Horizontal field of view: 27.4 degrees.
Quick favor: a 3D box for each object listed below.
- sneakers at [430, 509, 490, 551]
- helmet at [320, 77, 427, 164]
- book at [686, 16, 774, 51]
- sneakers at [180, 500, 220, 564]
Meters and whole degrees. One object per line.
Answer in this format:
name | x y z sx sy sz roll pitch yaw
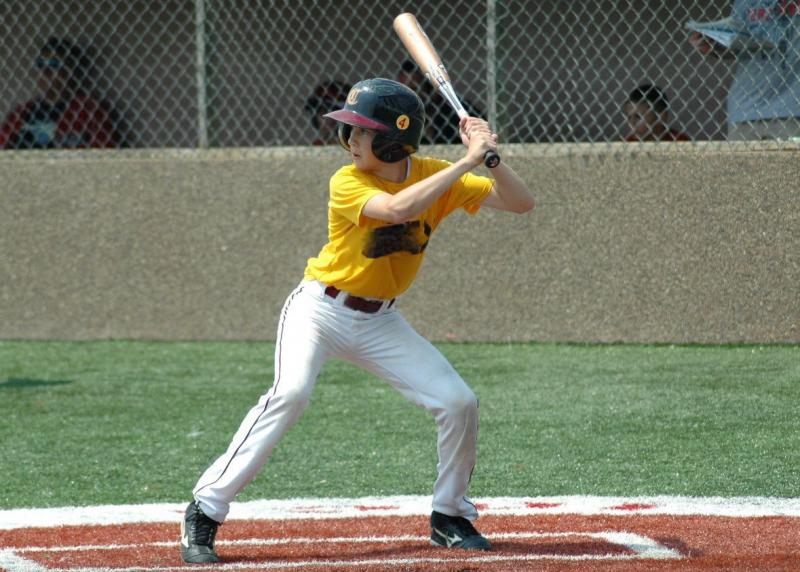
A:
sneakers | 0.293 1.251 8.382 0.366 0.178 0.135 6 13 39
helmet | -0.125 -0.867 8.470 0.520 0.431 0.382 -10 22 -30
book | 2.090 -1.581 10.390 0.352 0.161 0.254 -5 2 40
sneakers | -1.018 1.261 8.242 0.125 0.166 0.367 12 34 -35
